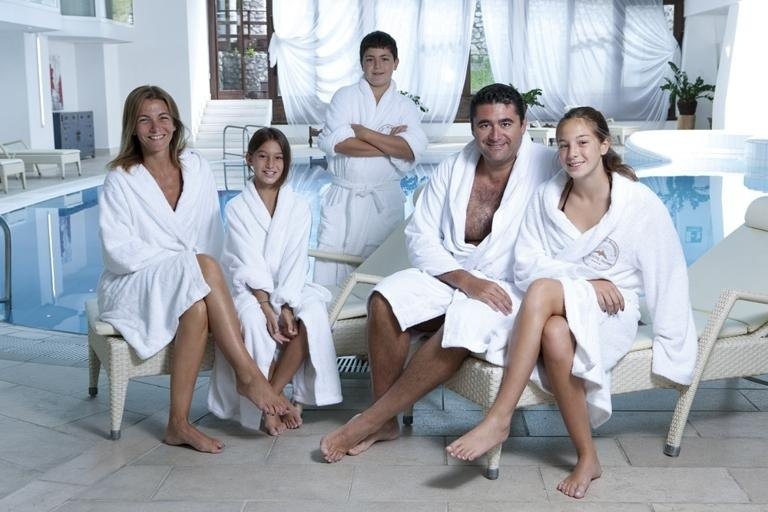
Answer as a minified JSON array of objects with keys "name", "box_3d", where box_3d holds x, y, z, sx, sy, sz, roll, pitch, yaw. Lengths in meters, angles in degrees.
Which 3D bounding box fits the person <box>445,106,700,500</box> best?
[{"name":"person","box_3d":[0.676,0.128,1.946,0.617,1.165,0.695,7,17,27]}]

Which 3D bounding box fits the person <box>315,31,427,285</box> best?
[{"name":"person","box_3d":[-0.090,-0.346,3.247,0.560,1.604,0.443,9,28,7]}]

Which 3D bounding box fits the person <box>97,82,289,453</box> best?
[{"name":"person","box_3d":[-0.791,0.023,2.222,0.503,1.242,0.724,-9,17,-26]}]
